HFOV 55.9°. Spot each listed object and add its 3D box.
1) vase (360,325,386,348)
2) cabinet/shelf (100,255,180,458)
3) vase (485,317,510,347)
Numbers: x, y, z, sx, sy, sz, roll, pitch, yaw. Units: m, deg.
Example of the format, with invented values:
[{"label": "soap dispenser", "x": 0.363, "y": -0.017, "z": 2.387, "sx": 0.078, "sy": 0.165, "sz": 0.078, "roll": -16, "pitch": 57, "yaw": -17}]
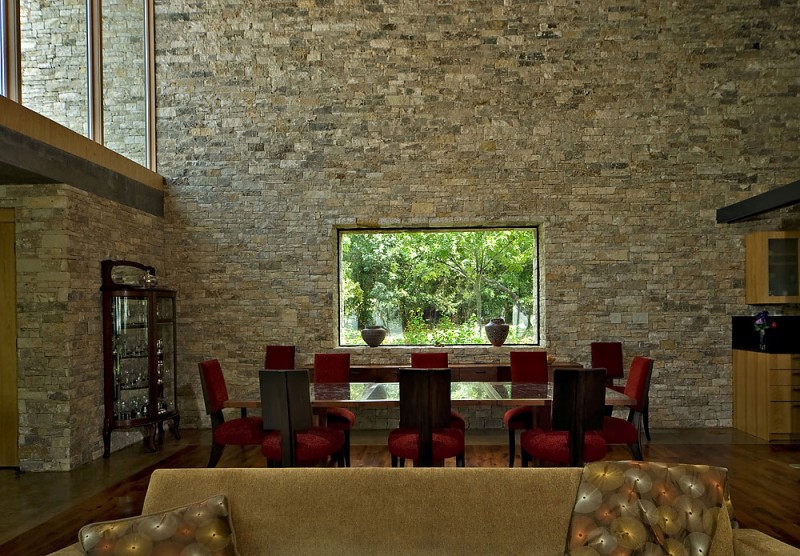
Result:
[{"label": "vase", "x": -0.379, "y": 0.847, "z": 10.890, "sx": 0.312, "sy": 0.251, "sz": 0.318, "roll": 0, "pitch": -7, "yaw": -2}, {"label": "cabinet/shelf", "x": -3.451, "y": 1.035, "z": 10.061, "sx": 0.513, "sy": 2.522, "sz": 0.974, "roll": -2, "pitch": -3, "yaw": 21}, {"label": "vase", "x": 1.403, "y": 0.774, "z": 10.824, "sx": 0.376, "sy": 0.410, "sz": 0.389, "roll": -6, "pitch": -8, "yaw": 41}]
